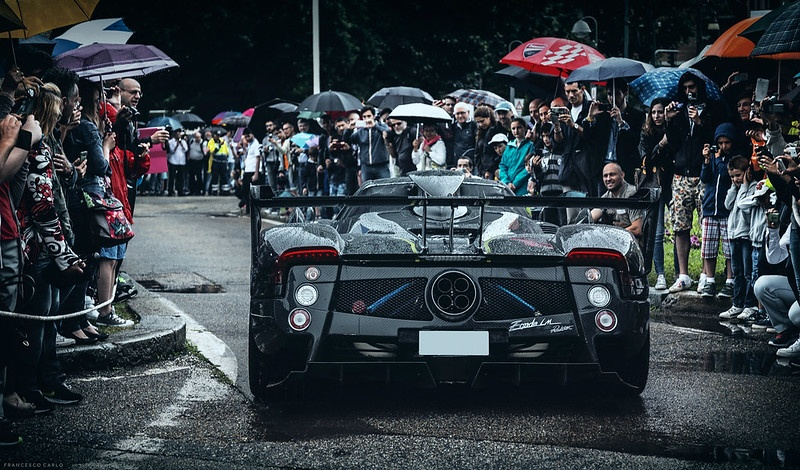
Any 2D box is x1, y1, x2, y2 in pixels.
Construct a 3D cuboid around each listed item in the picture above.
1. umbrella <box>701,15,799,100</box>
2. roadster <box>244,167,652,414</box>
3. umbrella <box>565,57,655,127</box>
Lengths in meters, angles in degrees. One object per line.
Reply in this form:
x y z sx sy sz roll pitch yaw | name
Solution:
5.506 -2.882 15.958 1.556 0.970 1.446 0 8 -12 | umbrella
0.488 0.634 9.871 2.255 1.190 3.688 1 6 -1 | roadster
3.247 -2.242 15.846 1.071 0.612 1.069 2 4 1 | umbrella
